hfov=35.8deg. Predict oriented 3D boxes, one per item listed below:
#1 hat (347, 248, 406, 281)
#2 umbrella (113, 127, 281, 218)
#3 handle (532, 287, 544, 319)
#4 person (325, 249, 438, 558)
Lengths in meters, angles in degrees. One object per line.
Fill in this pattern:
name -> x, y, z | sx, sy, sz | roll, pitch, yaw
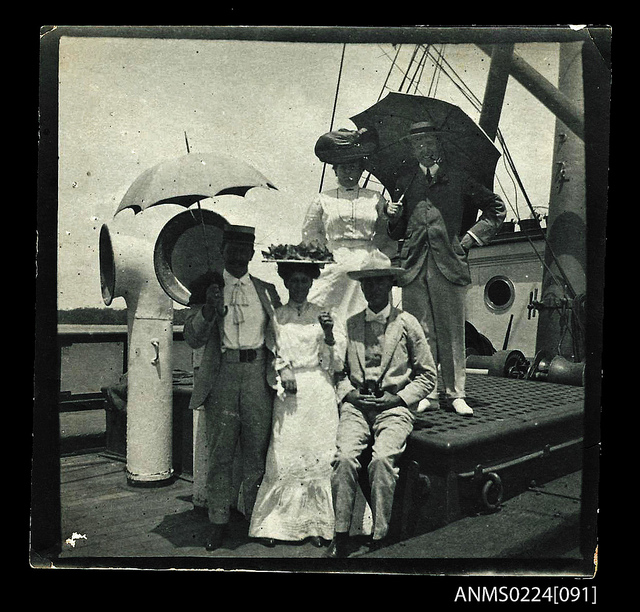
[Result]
hat -> 0.487, -0.354, 8.510 | 0.473, 0.263, 0.409 | -1, -6, 7
umbrella -> -1.160, -1.162, 8.637 | 1.365, 0.600, 1.451 | -10, 8, 34
handle -> 2.095, -0.044, 9.576 | 0.093, 0.288, 0.478 | -1, -6, 10
person -> 0.483, 0.795, 8.167 | 0.900, 2.570, 0.390 | 0, -6, 0
